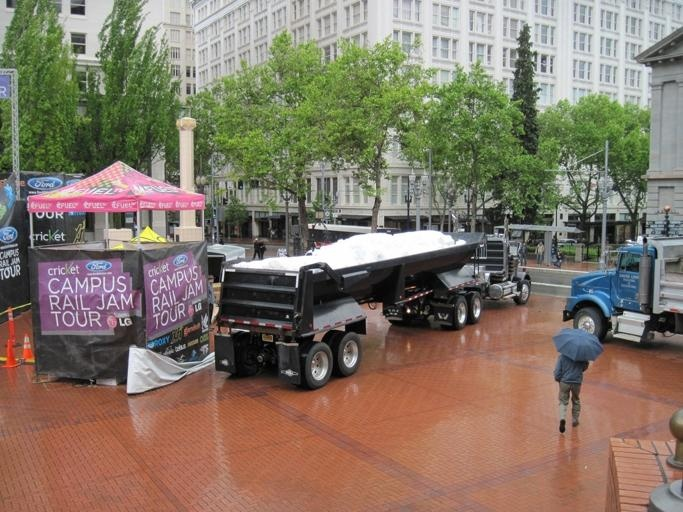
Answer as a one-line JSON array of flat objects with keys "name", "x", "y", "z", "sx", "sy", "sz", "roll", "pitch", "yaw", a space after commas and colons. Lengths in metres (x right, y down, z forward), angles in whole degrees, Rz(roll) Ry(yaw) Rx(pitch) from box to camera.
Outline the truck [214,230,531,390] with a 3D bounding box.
[{"name": "truck", "x": 1.411, "y": 0.993, "z": 18.392, "sx": 3.328, "sy": 3.351, "sz": 11.648, "roll": 6, "pitch": 12, "yaw": 36}]

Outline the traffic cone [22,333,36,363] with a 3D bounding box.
[{"name": "traffic cone", "x": -8.189, "y": 2.347, "z": 16.035, "sx": 0.258, "sy": 0.676, "sz": 0.849, "roll": -4, "pitch": 10, "yaw": -28}]

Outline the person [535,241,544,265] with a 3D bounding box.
[{"name": "person", "x": 14.192, "y": -0.199, "z": 44.045, "sx": 0.327, "sy": 1.607, "sz": 1.974, "roll": 4, "pitch": 9, "yaw": 22}]

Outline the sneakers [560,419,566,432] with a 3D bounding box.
[{"name": "sneakers", "x": 4.203, "y": 3.180, "z": 11.721, "sx": 0.097, "sy": 0.134, "sz": 0.290, "roll": 1, "pitch": 31, "yaw": 13}]
